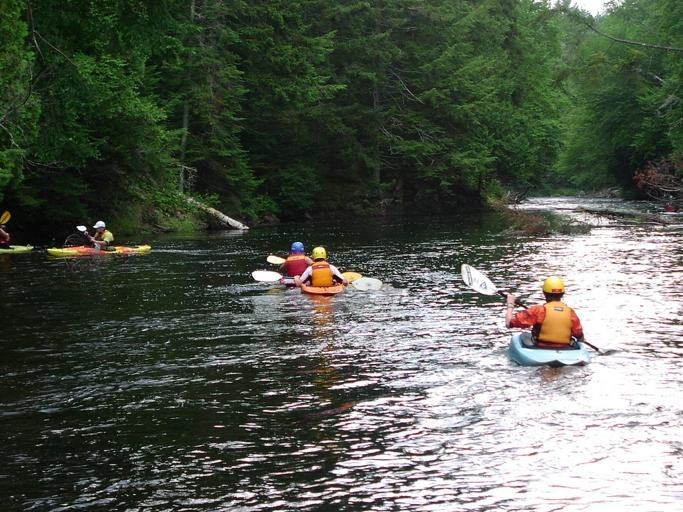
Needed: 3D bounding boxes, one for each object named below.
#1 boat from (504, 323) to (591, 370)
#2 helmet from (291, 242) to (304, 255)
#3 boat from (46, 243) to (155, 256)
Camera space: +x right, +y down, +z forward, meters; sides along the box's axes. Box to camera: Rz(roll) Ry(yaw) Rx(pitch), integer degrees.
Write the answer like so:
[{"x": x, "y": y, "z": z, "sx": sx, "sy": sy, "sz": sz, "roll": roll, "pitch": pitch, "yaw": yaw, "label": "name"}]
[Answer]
[{"x": 3.238, "y": 1.442, "z": 11.948, "sx": 1.192, "sy": 0.219, "sz": 1.413, "roll": 1, "pitch": 12, "yaw": 7, "label": "boat"}, {"x": -1.112, "y": -0.181, "z": 19.069, "sx": 0.476, "sy": 0.286, "sz": 0.396, "roll": 1, "pitch": -8, "yaw": -6, "label": "helmet"}, {"x": -8.329, "y": -0.160, "z": 26.790, "sx": 3.818, "sy": 0.320, "sz": 0.929, "roll": 2, "pitch": -2, "yaw": -20, "label": "boat"}]
